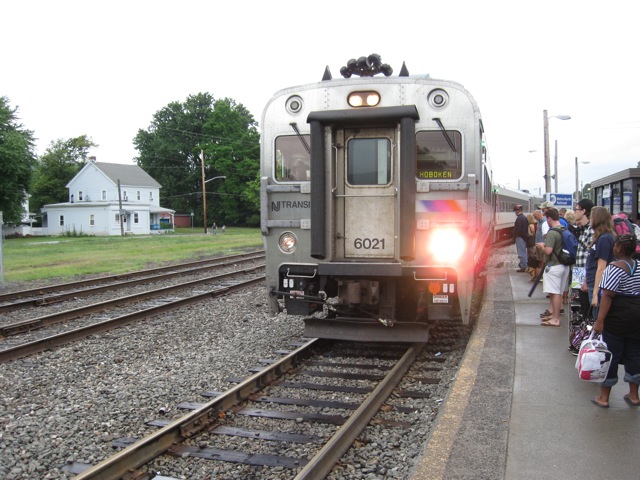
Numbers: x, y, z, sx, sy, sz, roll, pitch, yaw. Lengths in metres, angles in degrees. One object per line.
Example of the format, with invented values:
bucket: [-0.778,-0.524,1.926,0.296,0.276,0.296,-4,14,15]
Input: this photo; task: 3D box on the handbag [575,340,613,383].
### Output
handbag: [2.923,1.308,5.750,0.385,0.458,0.280,-1,1,-26]

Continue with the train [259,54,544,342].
train: [0.685,-0.522,7.666,1.748,2.437,6.660,0,3,17]

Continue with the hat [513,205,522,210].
hat: [5.602,-0.903,15.236,0.247,0.132,0.332,-3,2,4]

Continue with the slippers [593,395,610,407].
slippers: [3.046,1.755,5.824,0.066,0.072,0.180,-1,1,7]
